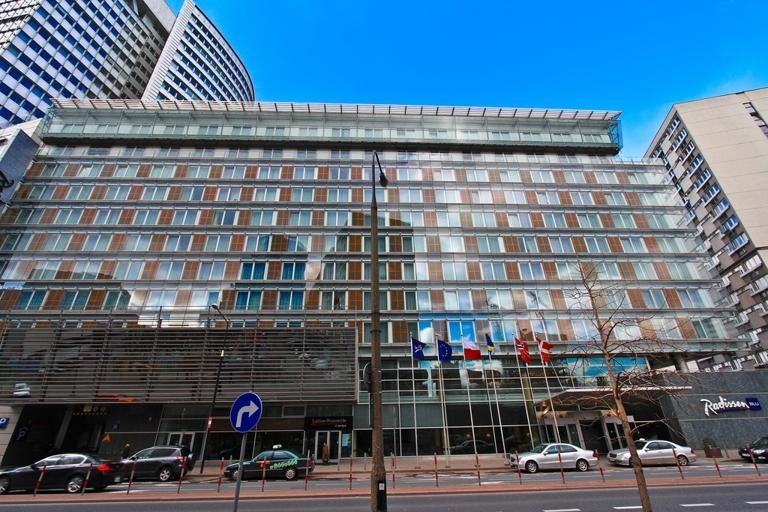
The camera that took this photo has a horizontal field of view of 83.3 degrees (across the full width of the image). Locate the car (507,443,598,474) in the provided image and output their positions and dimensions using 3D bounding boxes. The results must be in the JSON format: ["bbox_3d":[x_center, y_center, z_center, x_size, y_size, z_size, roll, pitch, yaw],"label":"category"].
[{"bbox_3d":[14.271,17.017,36.302,8.918,2.093,3.038,0,-13,-3],"label":"car"}]

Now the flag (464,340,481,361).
[{"bbox_3d":[8.856,9.449,43.916,1.488,1.828,0.940,-2,-31,-1],"label":"flag"}]

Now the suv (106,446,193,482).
[{"bbox_3d":[-18.766,17.180,35.841,7.378,1.918,2.583,3,-28,-5],"label":"suv"}]

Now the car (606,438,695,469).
[{"bbox_3d":[23.374,17.244,37.969,6.349,2.121,2.375,-9,-28,15],"label":"car"}]
